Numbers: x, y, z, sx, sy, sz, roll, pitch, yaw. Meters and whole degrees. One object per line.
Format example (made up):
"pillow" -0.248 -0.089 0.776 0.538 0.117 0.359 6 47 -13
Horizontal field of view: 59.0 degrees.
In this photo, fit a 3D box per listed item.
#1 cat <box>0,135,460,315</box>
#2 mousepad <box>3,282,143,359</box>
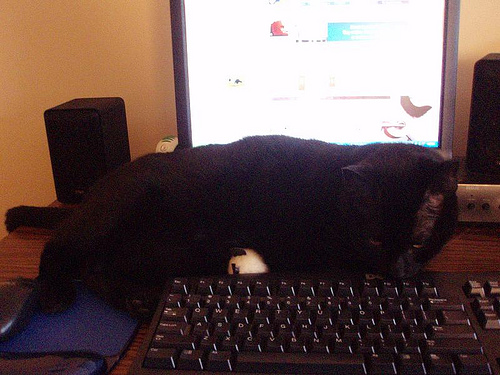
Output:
"cat" -0.035 0.043 0.854 0.631 0.209 0.400 -2 20 -2
"mousepad" -0.295 0.240 0.744 0.186 0.040 0.166 13 26 30
